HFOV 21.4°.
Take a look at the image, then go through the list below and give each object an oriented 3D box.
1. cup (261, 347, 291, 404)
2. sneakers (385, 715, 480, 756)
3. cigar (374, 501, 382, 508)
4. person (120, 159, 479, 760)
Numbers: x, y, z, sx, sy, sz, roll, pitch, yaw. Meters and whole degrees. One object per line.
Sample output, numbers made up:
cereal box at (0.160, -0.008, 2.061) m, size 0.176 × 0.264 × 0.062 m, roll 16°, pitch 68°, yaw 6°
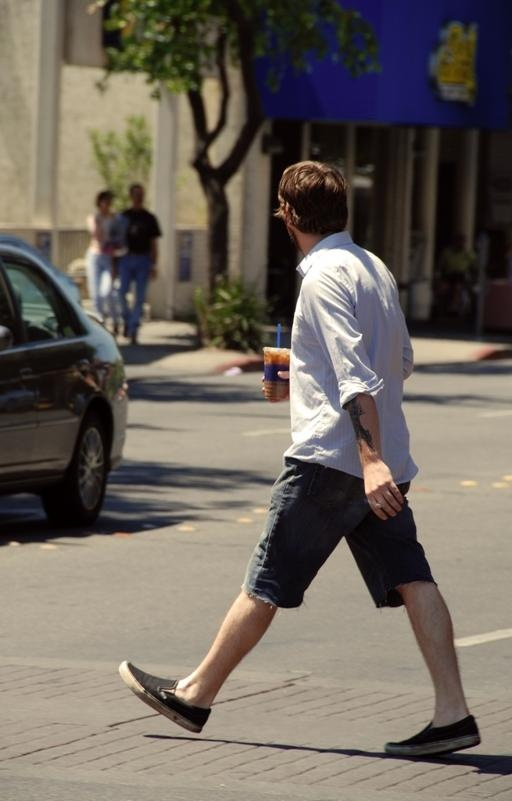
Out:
cup at (0.071, -0.081, 4.028) m, size 0.130 × 0.183 × 0.132 m, roll 1°, pitch 7°, yaw 0°
sneakers at (0.491, 0.902, 3.677) m, size 0.266 × 0.096 × 0.102 m, roll -13°, pitch -13°, yaw 13°
cigar at (0.306, 0.264, 3.412) m, size 0.010 × 0.018 × 0.006 m, roll 2°, pitch 40°, yaw 18°
person at (0.206, 0.163, 3.661) m, size 0.914 × 1.629 × 0.577 m, roll 4°, pitch 4°, yaw -3°
